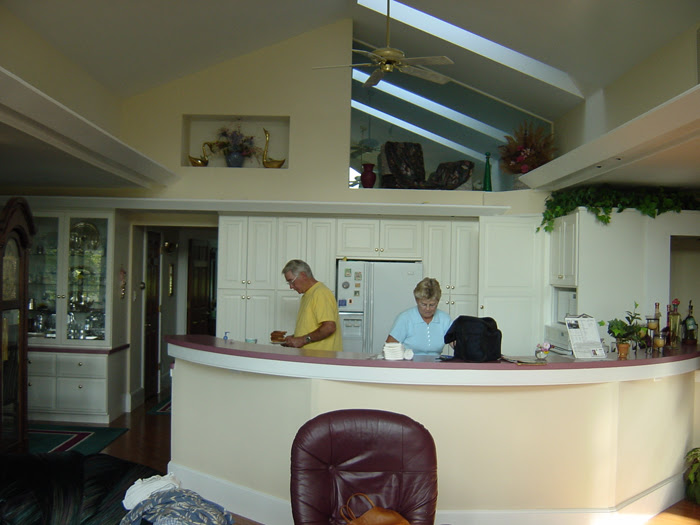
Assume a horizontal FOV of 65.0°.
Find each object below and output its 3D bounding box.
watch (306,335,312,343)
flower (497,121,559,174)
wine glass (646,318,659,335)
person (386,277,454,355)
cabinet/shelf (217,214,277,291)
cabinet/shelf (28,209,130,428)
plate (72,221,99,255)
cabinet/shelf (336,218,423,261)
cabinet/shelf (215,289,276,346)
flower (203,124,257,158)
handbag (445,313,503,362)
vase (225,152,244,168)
[{"bbox_3d":[-0.359,0.671,4.835,0.051,0.054,0.015,7,3,4],"label":"watch"},{"bbox_3d":[2.236,-1.453,6.891,0.629,0.707,0.499,8,-31,42],"label":"flower"},{"bbox_3d":[2.789,0.588,5.065,0.088,0.146,0.148,0,-1,34],"label":"wine glass"},{"bbox_3d":[0.614,0.508,5.153,0.610,0.995,0.310,-4,16,-13],"label":"person"},{"bbox_3d":[-1.274,-0.074,6.878,0.677,0.939,0.413,0,-13,-9],"label":"cabinet/shelf"},{"bbox_3d":[-3.549,0.693,7.044,1.240,2.483,0.742,1,-2,-1],"label":"cabinet/shelf"},{"bbox_3d":[-3.263,-0.304,6.988,0.336,0.402,0.349,1,-3,-5],"label":"plate"},{"bbox_3d":[0.364,-0.213,6.892,1.065,0.551,0.386,3,-27,-4],"label":"cabinet/shelf"},{"bbox_3d":[-1.281,0.659,6.800,0.672,0.707,0.253,1,15,-11],"label":"cabinet/shelf"},{"bbox_3d":[-1.522,-1.574,7.122,0.532,0.249,0.411,10,11,-12],"label":"flower"},{"bbox_3d":[0.973,0.626,4.366,0.433,0.388,0.368,-1,-14,33],"label":"handbag"},{"bbox_3d":[-1.471,-1.305,7.026,0.179,0.187,0.188,-1,2,-1],"label":"vase"}]
